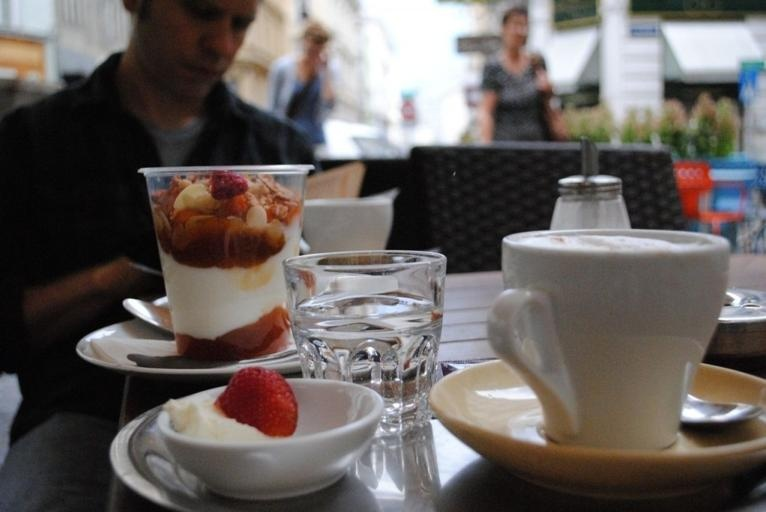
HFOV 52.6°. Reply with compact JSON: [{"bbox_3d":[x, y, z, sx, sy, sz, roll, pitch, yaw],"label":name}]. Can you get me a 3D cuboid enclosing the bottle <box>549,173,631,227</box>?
[{"bbox_3d":[0.294,-0.074,1.097,0.088,0.081,0.085,-2,-1,-11],"label":"bottle"}]
